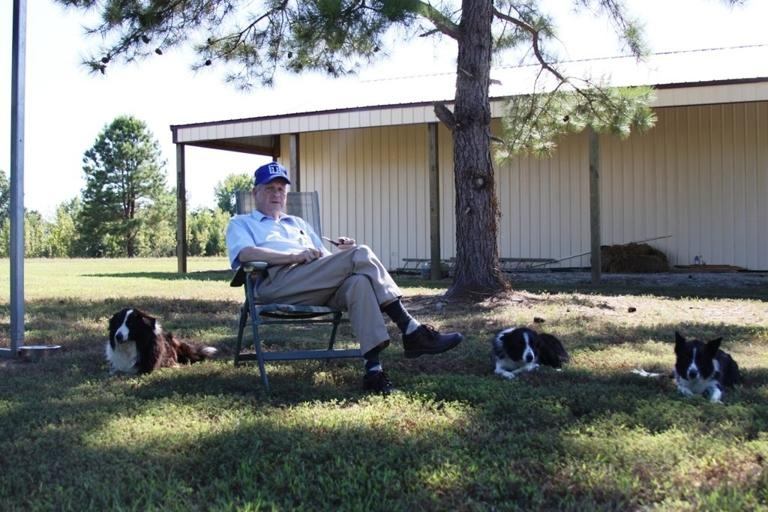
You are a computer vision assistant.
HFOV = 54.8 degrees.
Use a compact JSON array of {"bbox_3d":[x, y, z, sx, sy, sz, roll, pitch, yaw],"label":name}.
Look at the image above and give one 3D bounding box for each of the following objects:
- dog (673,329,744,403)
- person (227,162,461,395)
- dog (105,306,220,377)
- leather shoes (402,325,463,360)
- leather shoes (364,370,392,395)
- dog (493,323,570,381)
[{"bbox_3d":[2.500,0.834,5.811,0.467,0.434,0.553,6,11,36],"label":"dog"},{"bbox_3d":[-0.499,0.138,6.072,1.811,1.734,0.719,5,9,33],"label":"person"},{"bbox_3d":[-2.044,0.777,6.579,0.486,0.390,0.761,-17,-12,11],"label":"dog"},{"bbox_3d":[0.354,0.685,6.037,0.522,0.320,0.218,-11,7,1],"label":"leather shoes"},{"bbox_3d":[-0.054,0.979,5.818,0.228,0.151,0.216,-1,9,-3],"label":"leather shoes"},{"bbox_3d":[1.260,0.804,6.501,0.778,0.336,0.463,-5,10,-25],"label":"dog"}]
